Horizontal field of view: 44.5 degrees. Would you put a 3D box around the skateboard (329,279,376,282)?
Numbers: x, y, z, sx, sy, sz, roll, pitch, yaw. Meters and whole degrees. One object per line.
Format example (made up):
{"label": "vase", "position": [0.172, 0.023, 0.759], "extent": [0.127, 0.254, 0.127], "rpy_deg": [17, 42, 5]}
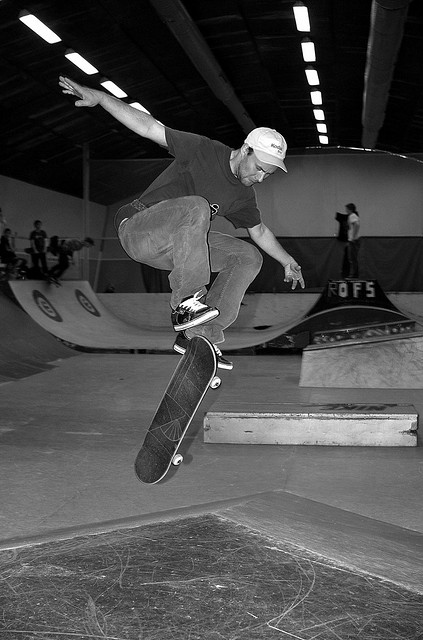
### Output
{"label": "skateboard", "position": [2.280, -0.628, 8.417], "extent": [0.675, 0.061, 0.156], "rpy_deg": [1, -4, -12]}

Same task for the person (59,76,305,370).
{"label": "person", "position": [-0.118, -0.416, 2.696], "extent": [1.546, 1.184, 0.718], "rpy_deg": [8, -9, -24]}

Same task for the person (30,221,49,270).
{"label": "person", "position": [-3.662, -1.604, 10.916], "extent": [0.350, 1.331, 1.499], "rpy_deg": [1, -5, -19]}

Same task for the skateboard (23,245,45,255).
{"label": "skateboard", "position": [-3.736, -1.457, 10.911], "extent": [0.298, 0.137, 0.392], "rpy_deg": [-9, 10, -7]}

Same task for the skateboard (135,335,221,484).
{"label": "skateboard", "position": [-0.122, 0.452, 2.402], "extent": [0.264, 0.798, 0.141], "rpy_deg": [33, 10, 24]}

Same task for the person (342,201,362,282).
{"label": "person", "position": [3.002, -1.685, 10.973], "extent": [0.358, 1.824, 1.276], "rpy_deg": [-1, -4, 14]}
